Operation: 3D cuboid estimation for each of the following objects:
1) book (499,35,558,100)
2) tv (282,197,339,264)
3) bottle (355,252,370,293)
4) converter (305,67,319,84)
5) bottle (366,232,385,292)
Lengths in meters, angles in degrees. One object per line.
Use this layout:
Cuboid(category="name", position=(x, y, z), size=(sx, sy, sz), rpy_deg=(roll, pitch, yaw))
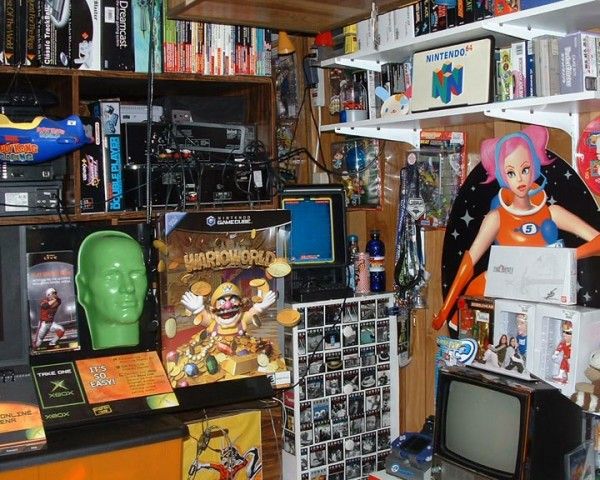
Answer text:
Cuboid(category="book", position=(0.928, -0.697, 2.236), size=(0.083, 0.228, 0.270), rpy_deg=(-9, 12, -36))
Cuboid(category="tv", position=(0.012, -0.050, 2.982), size=(0.298, 0.350, 0.077), rpy_deg=(0, -1, -25))
Cuboid(category="bottle", position=(0.349, 0.192, 3.027), size=(0.080, 0.215, 0.104), rpy_deg=(-1, 9, 8))
Cuboid(category="converter", position=(0.062, -1.035, 3.442), size=(0.083, 0.085, 0.156), rpy_deg=(3, 31, -5))
Cuboid(category="bottle", position=(0.430, 0.124, 3.085), size=(0.098, 0.340, 0.173), rpy_deg=(-1, 9, 7))
